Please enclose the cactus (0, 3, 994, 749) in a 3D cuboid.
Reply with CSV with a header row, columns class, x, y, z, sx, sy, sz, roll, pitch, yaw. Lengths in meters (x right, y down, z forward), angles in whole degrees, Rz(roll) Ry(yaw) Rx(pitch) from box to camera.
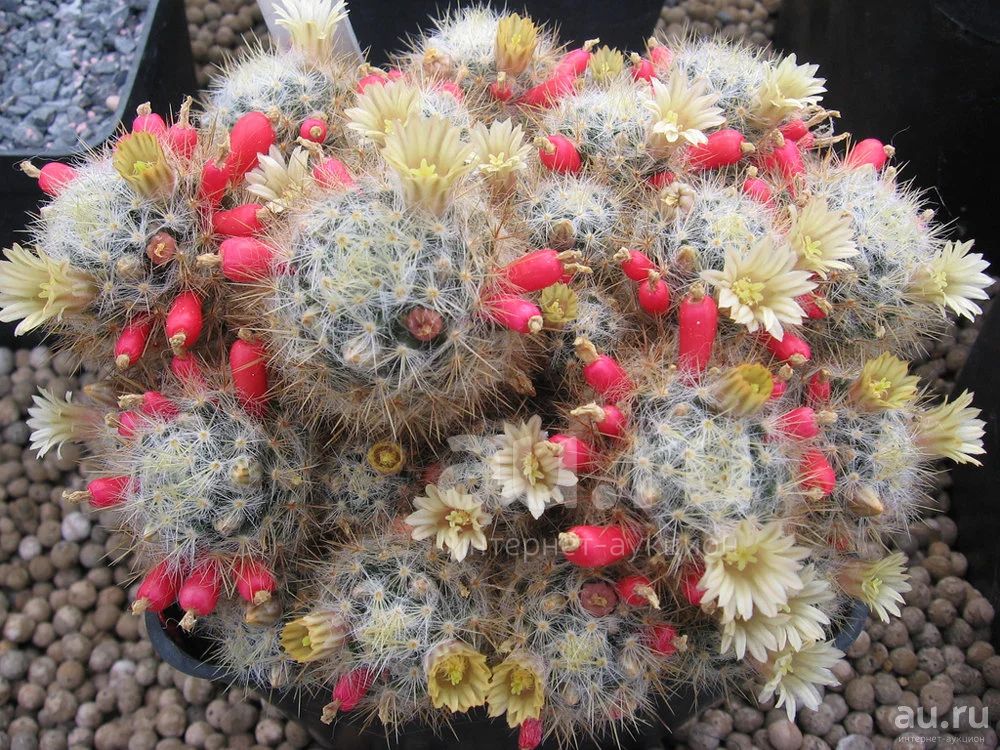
class,x,y,z,sx,sy,sz,roll,pitch,yaw
cactus,-0.049,0.202,2.588,1.862,1.290,1.607,34,57,7
